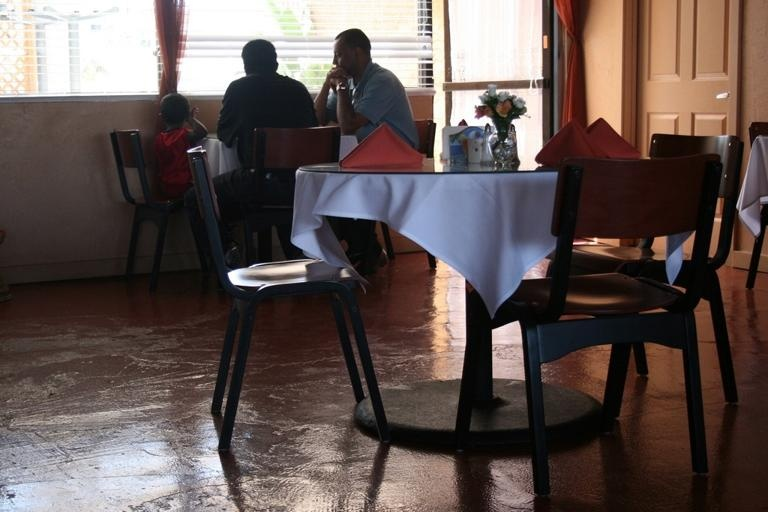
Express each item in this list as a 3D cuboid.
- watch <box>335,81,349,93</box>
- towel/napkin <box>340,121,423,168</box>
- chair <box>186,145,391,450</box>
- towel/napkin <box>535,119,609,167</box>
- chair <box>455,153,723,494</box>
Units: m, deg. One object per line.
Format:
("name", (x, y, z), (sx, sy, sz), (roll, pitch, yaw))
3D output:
("watch", (-0.281, -1.134, 4.301), (0.063, 0.039, 0.082), (4, 12, -22))
("towel/napkin", (0.024, -0.412, 2.415), (0.384, 0.166, 0.121), (4, 13, 36))
("chair", (-0.336, 0.152, 2.506), (0.777, 0.989, 0.648), (-2, 7, -26))
("towel/napkin", (0.672, -0.394, 2.349), (0.272, 0.119, 0.248), (-5, 21, 9))
("chair", (0.624, 0.181, 2.096), (0.759, 1.015, 0.453), (-4, 14, -10))
